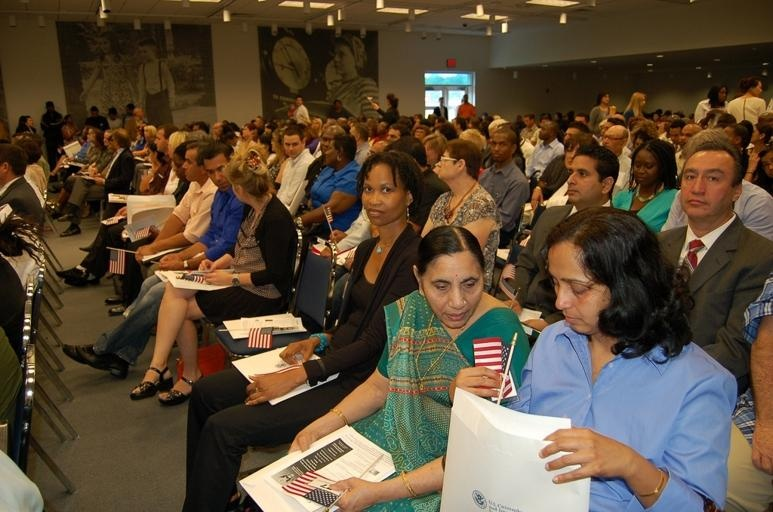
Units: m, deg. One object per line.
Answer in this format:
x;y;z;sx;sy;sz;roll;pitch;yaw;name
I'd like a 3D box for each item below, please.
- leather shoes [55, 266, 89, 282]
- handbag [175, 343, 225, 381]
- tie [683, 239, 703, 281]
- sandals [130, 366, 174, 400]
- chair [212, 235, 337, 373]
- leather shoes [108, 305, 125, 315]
-3.880;0.244;6.078;0.440;0.201;0.179;3;-6;4;leather shoes
-1.479;0.792;3.946;0.323;0.163;0.428;-9;-16;-39;handbag
1.672;0.000;2.652;0.079;0.167;0.154;6;15;34;tie
-1.797;0.989;3.894;0.404;0.234;0.185;-7;8;-39;sandals
-0.860;0.302;3.585;0.803;0.928;0.761;-3;13;-23;chair
-3.005;0.586;5.340;0.249;0.101;0.094;3;0;-40;leather shoes
